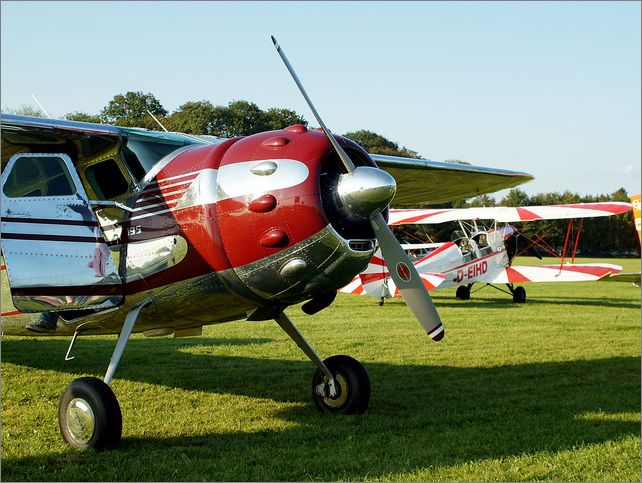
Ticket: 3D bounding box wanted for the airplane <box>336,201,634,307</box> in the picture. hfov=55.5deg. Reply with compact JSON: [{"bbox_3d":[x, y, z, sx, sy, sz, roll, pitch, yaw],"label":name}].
[{"bbox_3d":[4.605,0.314,19.153,5.073,1.810,5.843,-4,3,-41],"label":"airplane"}]
